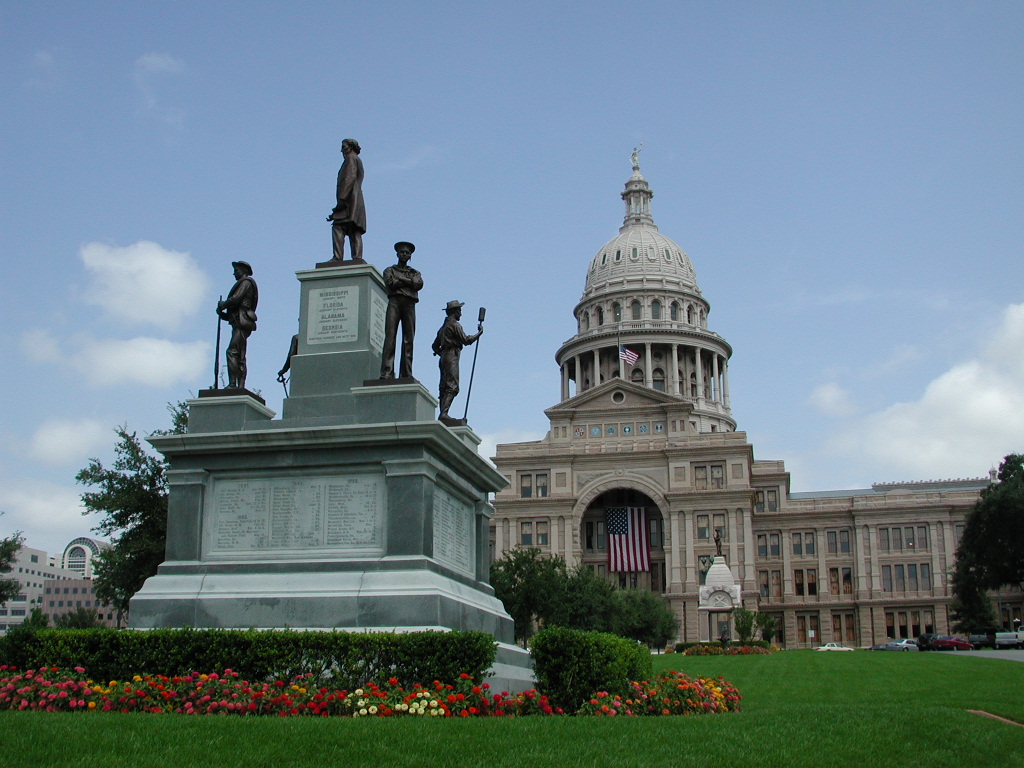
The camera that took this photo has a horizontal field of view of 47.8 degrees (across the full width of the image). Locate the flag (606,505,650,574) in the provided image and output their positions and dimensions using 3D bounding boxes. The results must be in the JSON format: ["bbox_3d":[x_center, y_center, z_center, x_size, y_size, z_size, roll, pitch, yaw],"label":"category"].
[{"bbox_3d":[10.806,14.440,107.605,5.642,8.165,0.345,-2,-7,5],"label":"flag"}]

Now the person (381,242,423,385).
[{"bbox_3d":[-2.444,-1.569,25.593,0.823,3.282,1.261,2,-15,-6],"label":"person"}]

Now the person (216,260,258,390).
[{"bbox_3d":[-6.266,-1.324,26.473,0.788,2.941,0.834,4,-16,-15],"label":"person"}]
